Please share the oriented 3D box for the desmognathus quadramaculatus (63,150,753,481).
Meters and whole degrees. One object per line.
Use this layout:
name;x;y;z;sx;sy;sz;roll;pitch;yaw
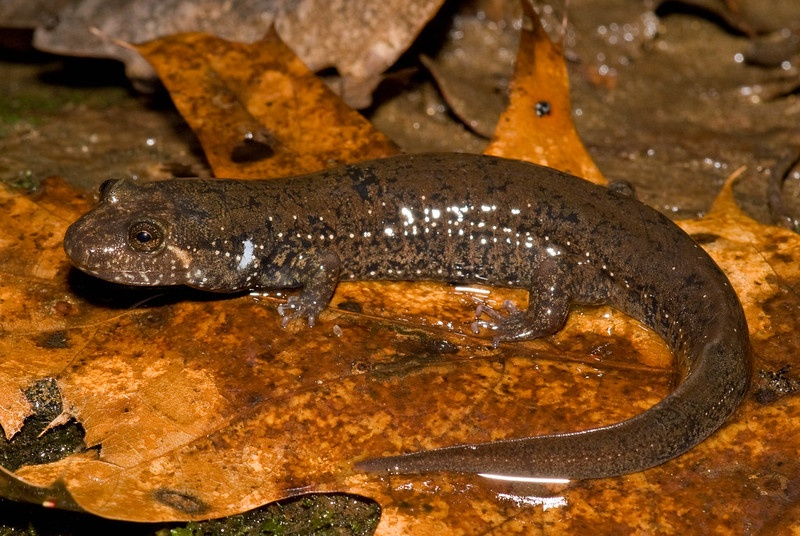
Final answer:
desmognathus quadramaculatus;0.180;0.043;7.681;5.653;0.758;3.647;16;44;14
